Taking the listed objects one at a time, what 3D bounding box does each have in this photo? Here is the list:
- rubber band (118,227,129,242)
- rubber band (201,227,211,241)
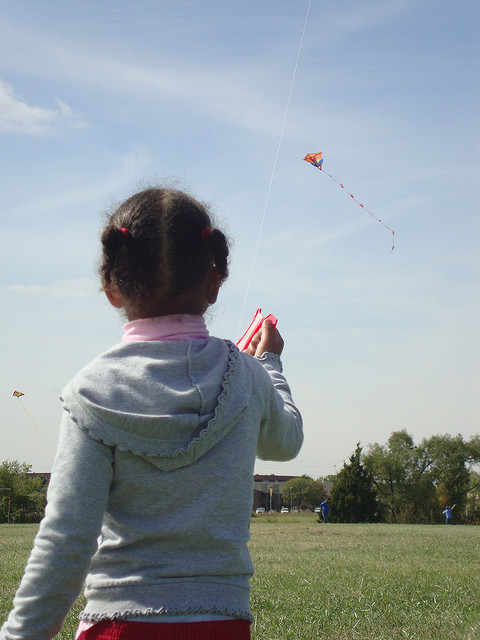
[{"bbox_3d":[-0.324,-0.242,2.744,0.032,0.035,0.034,3,4,4],"label":"rubber band"},{"bbox_3d":[-0.104,-0.247,2.794,0.028,0.034,0.011,10,-8,-37],"label":"rubber band"}]
